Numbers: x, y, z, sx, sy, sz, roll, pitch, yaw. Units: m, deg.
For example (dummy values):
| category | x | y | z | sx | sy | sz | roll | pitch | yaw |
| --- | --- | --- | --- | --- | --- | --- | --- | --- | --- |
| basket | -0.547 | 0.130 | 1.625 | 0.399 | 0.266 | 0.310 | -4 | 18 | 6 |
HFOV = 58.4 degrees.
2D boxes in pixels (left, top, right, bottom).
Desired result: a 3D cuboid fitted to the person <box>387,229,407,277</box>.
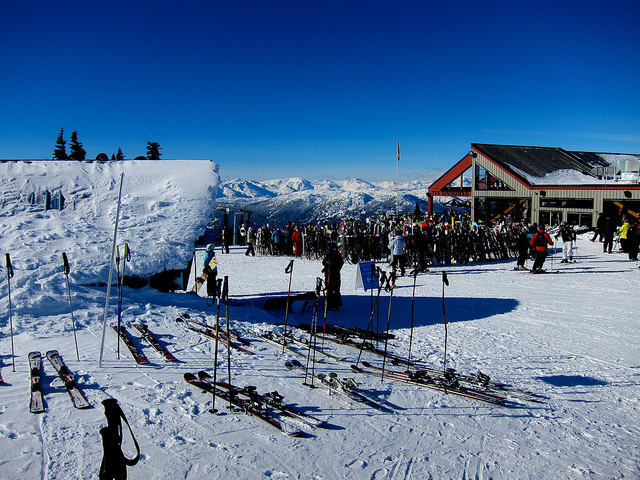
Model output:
| category | x | y | z | sx | sy | sz | roll | pitch | yaw |
| --- | --- | --- | --- | --- | --- | --- | --- | --- | --- |
| person | 2.970 | 0.519 | 21.900 | 0.604 | 1.812 | 1.534 | 1 | 2 | 9 |

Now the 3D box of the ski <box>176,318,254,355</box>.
| category | x | y | z | sx | sy | sz | roll | pitch | yaw |
| --- | --- | --- | --- | --- | --- | --- | --- | --- | --- |
| ski | -2.303 | 2.101 | 12.317 | 2.452 | 0.258 | 0.270 | 22 | 13 | 34 |

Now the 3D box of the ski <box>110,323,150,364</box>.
| category | x | y | z | sx | sy | sz | roll | pitch | yaw |
| --- | --- | --- | --- | --- | --- | --- | --- | --- | --- |
| ski | -3.842 | 2.085 | 11.672 | 0.286 | 0.126 | 2.292 | 1 | 7 | -30 |

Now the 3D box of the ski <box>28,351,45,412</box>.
| category | x | y | z | sx | sy | sz | roll | pitch | yaw |
| --- | --- | --- | --- | --- | --- | --- | --- | --- | --- |
| ski | -4.961 | 2.422 | 10.020 | 0.219 | 0.140 | 1.701 | 4 | 23 | -30 |

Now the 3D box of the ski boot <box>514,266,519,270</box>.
| category | x | y | z | sx | sy | sz | roll | pitch | yaw |
| --- | --- | --- | --- | --- | --- | --- | --- | --- | --- |
| ski boot | 7.863 | 1.116 | 22.986 | 0.166 | 0.128 | 0.163 | 1 | 2 | 17 |

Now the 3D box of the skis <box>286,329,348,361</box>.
| category | x | y | z | sx | sy | sz | roll | pitch | yaw |
| --- | --- | --- | --- | --- | --- | --- | --- | --- | --- |
| skis | -0.076 | 2.346 | 12.640 | 1.515 | 0.174 | 0.183 | 21 | 16 | 40 |

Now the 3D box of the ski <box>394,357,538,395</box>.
| category | x | y | z | sx | sy | sz | roll | pitch | yaw |
| --- | --- | --- | --- | --- | --- | --- | --- | --- | --- |
| ski | 2.859 | 2.723 | 11.296 | 1.919 | 0.150 | 0.293 | 8 | 27 | 28 |

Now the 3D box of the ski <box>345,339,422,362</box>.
| category | x | y | z | sx | sy | sz | roll | pitch | yaw |
| --- | --- | --- | --- | --- | --- | --- | --- | --- | --- |
| ski | 1.368 | 2.467 | 12.664 | 1.773 | 0.194 | 0.188 | 13 | 24 | 26 |

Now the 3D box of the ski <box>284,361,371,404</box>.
| category | x | y | z | sx | sy | sz | roll | pitch | yaw |
| --- | --- | --- | --- | --- | --- | --- | --- | --- | --- |
| ski | 0.103 | 2.705 | 10.722 | 1.379 | 0.102 | 0.153 | 20 | 27 | 39 |

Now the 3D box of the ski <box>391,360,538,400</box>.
| category | x | y | z | sx | sy | sz | roll | pitch | yaw |
| --- | --- | --- | --- | --- | --- | --- | --- | --- | --- |
| ski | 2.774 | 2.759 | 11.114 | 1.596 | 0.161 | 0.144 | 15 | 19 | 24 |

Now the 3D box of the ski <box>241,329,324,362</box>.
| category | x | y | z | sx | sy | sz | roll | pitch | yaw |
| --- | --- | --- | --- | --- | --- | --- | --- | --- | --- |
| ski | -0.836 | 2.311 | 12.338 | 1.354 | 0.108 | 0.128 | 23 | 14 | 33 |

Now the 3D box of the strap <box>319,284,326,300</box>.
| category | x | y | z | sx | sy | sz | roll | pitch | yaw |
| --- | --- | --- | --- | --- | --- | --- | --- | --- | --- |
| strap | 0.104 | 1.586 | 16.754 | 0.261 | 0.460 | 0.265 | -3 | 3 | 0 |

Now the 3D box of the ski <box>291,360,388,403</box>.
| category | x | y | z | sx | sy | sz | roll | pitch | yaw |
| --- | --- | --- | --- | --- | --- | --- | --- | --- | --- |
| ski | 0.332 | 2.705 | 10.805 | 0.192 | 0.195 | 1.639 | 6 | 9 | -43 |

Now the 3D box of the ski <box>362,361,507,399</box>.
| category | x | y | z | sx | sy | sz | roll | pitch | yaw |
| --- | --- | --- | --- | --- | --- | --- | --- | --- | --- |
| ski | 2.169 | 2.746 | 11.058 | 2.259 | 0.170 | 0.250 | 9 | 9 | 31 |

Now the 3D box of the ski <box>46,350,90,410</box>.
| category | x | y | z | sx | sy | sz | roll | pitch | yaw |
| --- | --- | --- | --- | --- | --- | --- | --- | --- | --- |
| ski | -4.448 | 2.521 | 10.128 | 0.224 | 0.138 | 1.554 | 3 | 14 | -41 |

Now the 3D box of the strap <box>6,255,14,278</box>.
| category | x | y | z | sx | sy | sz | roll | pitch | yaw |
| --- | --- | --- | --- | --- | --- | --- | --- | --- | --- |
| strap | -6.287 | 0.561 | 11.642 | 0.065 | 0.121 | 0.581 | 20 | 11 | -37 |

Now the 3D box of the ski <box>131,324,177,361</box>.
| category | x | y | z | sx | sy | sz | roll | pitch | yaw |
| --- | --- | --- | --- | --- | --- | --- | --- | --- | --- |
| ski | -3.427 | 2.148 | 11.816 | 0.165 | 0.100 | 1.149 | 5 | 14 | -41 |

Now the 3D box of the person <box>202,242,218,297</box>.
| category | x | y | z | sx | sy | sz | roll | pitch | yaw |
| --- | --- | --- | --- | --- | --- | --- | --- | --- | --- |
| person | -3.345 | 0.932 | 17.421 | 0.378 | 1.595 | 0.269 | -12 | -2 | -30 |

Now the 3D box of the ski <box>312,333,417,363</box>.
| category | x | y | z | sx | sy | sz | roll | pitch | yaw |
| --- | --- | --- | --- | --- | --- | --- | --- | --- | --- |
| ski | 0.935 | 2.425 | 12.677 | 2.116 | 0.293 | 0.177 | 14 | 9 | 20 |

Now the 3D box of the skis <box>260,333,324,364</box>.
| category | x | y | z | sx | sy | sz | roll | pitch | yaw |
| --- | --- | --- | --- | --- | --- | --- | --- | --- | --- |
| skis | -0.623 | 2.347 | 12.208 | 0.175 | 0.082 | 1.518 | -13 | 23 | -43 |
